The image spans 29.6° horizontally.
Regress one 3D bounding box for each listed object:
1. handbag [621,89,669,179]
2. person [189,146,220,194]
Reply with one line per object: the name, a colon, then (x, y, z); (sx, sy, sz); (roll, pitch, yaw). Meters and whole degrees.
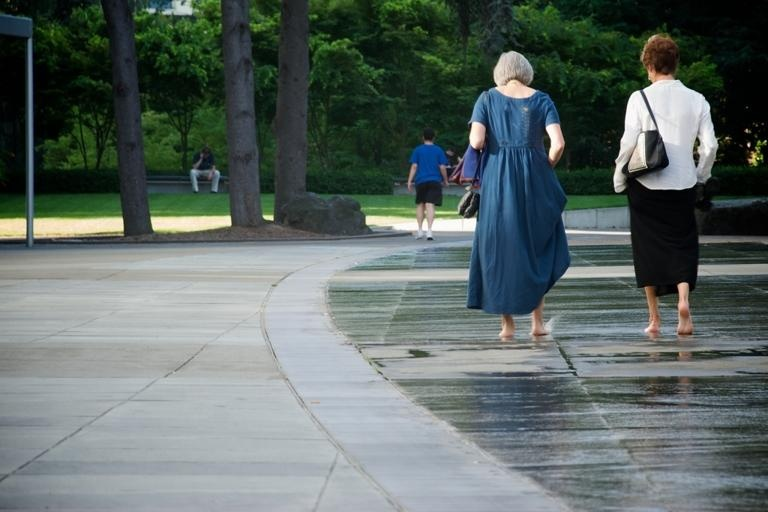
handbag: (4.258, -1.945, 23.615); (0.677, 1.393, 0.486); (6, 17, 20)
person: (-6.319, -3.060, 50.998); (0.936, 1.726, 1.487); (-2, 15, -7)
